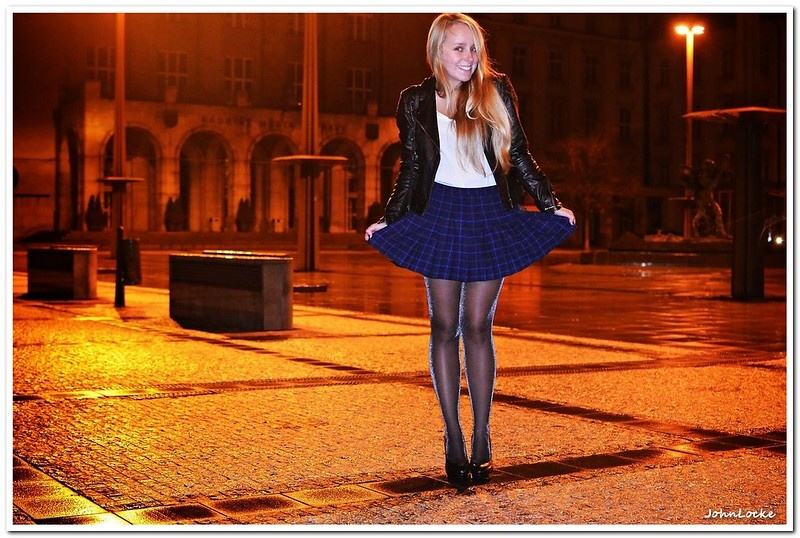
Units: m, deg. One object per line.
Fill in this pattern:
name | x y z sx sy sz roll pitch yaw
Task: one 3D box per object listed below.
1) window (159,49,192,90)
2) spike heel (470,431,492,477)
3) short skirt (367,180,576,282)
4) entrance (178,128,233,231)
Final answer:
window | -14.771 -13.012 59.578 2.020 2.438 0.370 -1 3 -26
spike heel | 0.571 1.330 6.424 0.107 0.354 0.147 0 -26 6
short skirt | 0.468 -0.224 6.549 1.473 0.725 0.662 -4 -10 -7
entrance | -12.673 -5.642 58.834 2.891 6.259 2.076 0 3 -19
